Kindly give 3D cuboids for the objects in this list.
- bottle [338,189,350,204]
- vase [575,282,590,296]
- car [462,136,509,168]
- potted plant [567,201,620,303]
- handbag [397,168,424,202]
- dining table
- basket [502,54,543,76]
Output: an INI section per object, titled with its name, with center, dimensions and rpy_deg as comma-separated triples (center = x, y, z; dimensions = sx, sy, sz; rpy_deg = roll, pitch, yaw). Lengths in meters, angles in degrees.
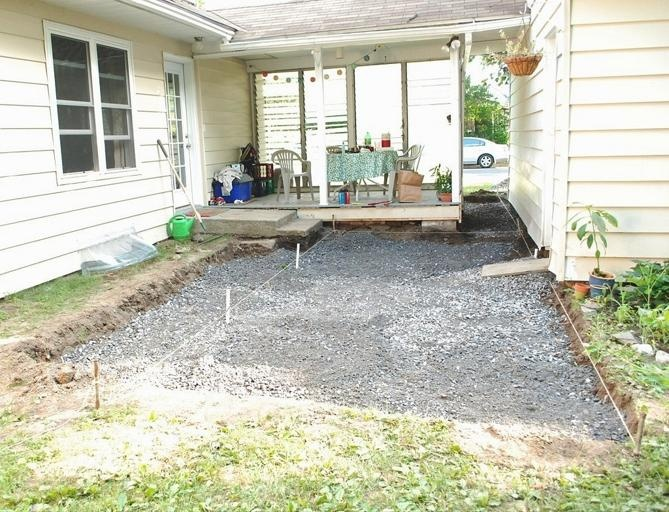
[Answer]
[bottle]
center = 0.238, -1.161, 9.323
dimensions = 0.343, 0.358, 0.303
rpy_deg = 1, 9, 7
[vase]
center = 2.567, 0.340, 4.929
dimensions = 0.129, 0.104, 0.166
rpy_deg = 7, 17, 32
[car]
center = 7.246, -4.991, 23.142
dimensions = 1.785, 1.383, 0.669
rpy_deg = -2, 16, 2
[potted plant]
center = 2.674, -0.060, 4.977
dimensions = 0.480, 0.879, 0.742
rpy_deg = 4, 17, 24
[handbag]
center = 1.447, -1.333, 9.105
dimensions = 0.455, 0.593, 0.411
rpy_deg = 0, 16, 11
[dining table]
center = 0.564, -1.596, 9.211
dimensions = 1.334, 0.633, 1.262
rpy_deg = -8, 15, -24
[basket]
center = 2.509, -2.546, 6.454
dimensions = 0.386, 0.167, 0.338
rpy_deg = -12, 25, -11
